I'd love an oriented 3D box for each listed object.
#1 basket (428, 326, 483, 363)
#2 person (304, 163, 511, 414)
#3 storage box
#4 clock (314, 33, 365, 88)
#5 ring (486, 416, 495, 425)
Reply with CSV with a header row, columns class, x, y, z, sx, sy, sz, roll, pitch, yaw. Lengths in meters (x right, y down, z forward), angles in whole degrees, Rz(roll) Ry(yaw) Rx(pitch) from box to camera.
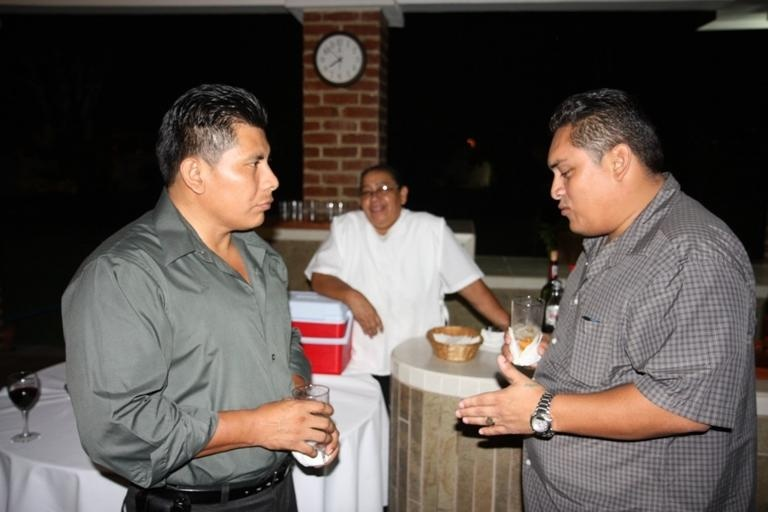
class,x,y,z,sx,sy,sz,roll,pitch,yaw
basket,0.319,0.430,3.013,0.279,0.088,0.273,0,15,-6
person,0.160,0.607,4.054,1.221,2.471,0.656,0,31,7
storage box,-0.439,0.421,3.399,0.527,0.364,0.406,5,7,-8
clock,-0.353,-1.578,4.928,0.435,0.426,0.079,1,8,3
ring,0.408,0.616,2.317,0.027,0.034,0.012,-5,4,2
